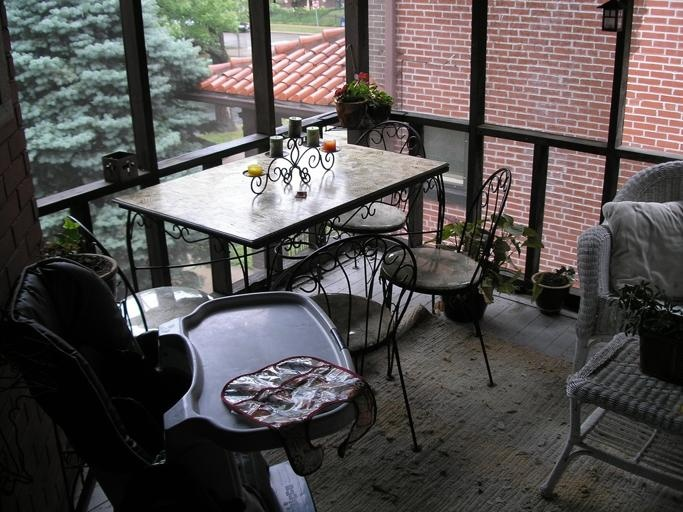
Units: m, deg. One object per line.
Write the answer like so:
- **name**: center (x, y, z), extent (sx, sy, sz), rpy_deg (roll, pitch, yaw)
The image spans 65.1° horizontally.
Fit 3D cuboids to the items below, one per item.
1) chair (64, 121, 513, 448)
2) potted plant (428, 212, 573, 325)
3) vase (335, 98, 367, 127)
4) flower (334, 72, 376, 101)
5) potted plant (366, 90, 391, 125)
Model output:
- **chair**: center (-0.142, 0.304, 3.508), extent (2.228, 1.490, 2.090), rpy_deg (20, 35, 33)
- **potted plant**: center (1.116, 0.101, 3.728), extent (0.897, 0.635, 0.809), rpy_deg (2, 12, -15)
- **vase**: center (0.039, -0.994, 3.755), extent (0.197, 0.136, 0.181), rpy_deg (-18, 37, -27)
- **flower**: center (0.105, -1.160, 3.767), extent (0.354, 0.179, 0.279), rpy_deg (0, 16, 16)
- **potted plant**: center (0.250, -1.035, 3.741), extent (0.241, 0.198, 0.215), rpy_deg (-6, 22, -15)
